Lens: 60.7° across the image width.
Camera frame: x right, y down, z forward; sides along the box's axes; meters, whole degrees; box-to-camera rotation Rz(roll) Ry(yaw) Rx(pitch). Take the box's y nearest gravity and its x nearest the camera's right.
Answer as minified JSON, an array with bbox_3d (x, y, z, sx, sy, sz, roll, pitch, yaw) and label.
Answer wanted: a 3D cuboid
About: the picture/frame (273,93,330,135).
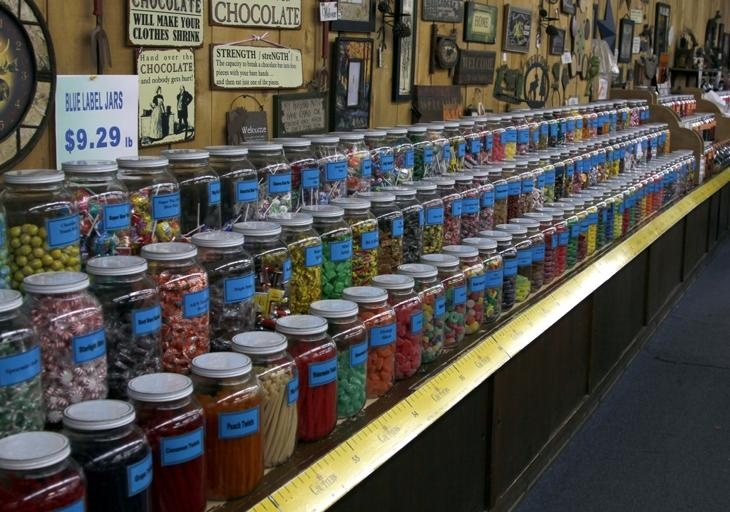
[{"bbox_3d":[-0.275,-0.625,2.735,0.033,0.175,0.327,10,20,35],"label":"picture/frame"}]

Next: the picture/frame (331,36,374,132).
[{"bbox_3d":[-0.067,-0.815,2.927,0.038,0.613,0.465,4,9,25],"label":"picture/frame"}]

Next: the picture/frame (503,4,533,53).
[{"bbox_3d":[1.061,-1.603,4.389,0.041,0.318,0.340,3,14,30],"label":"picture/frame"}]
